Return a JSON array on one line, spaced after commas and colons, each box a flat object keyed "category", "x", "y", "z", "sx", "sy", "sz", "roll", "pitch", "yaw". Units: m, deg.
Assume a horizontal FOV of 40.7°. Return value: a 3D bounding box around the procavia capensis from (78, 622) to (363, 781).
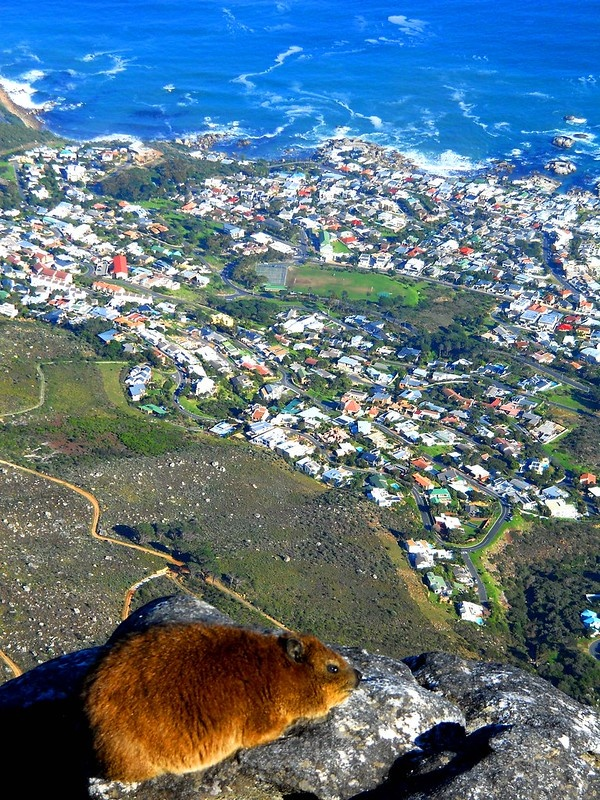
[{"category": "procavia capensis", "x": -0.361, "y": 1.279, "z": 3.574, "sx": 1.240, "sy": 0.525, "sz": 0.624, "roll": -3, "pitch": 22, "yaw": -24}]
